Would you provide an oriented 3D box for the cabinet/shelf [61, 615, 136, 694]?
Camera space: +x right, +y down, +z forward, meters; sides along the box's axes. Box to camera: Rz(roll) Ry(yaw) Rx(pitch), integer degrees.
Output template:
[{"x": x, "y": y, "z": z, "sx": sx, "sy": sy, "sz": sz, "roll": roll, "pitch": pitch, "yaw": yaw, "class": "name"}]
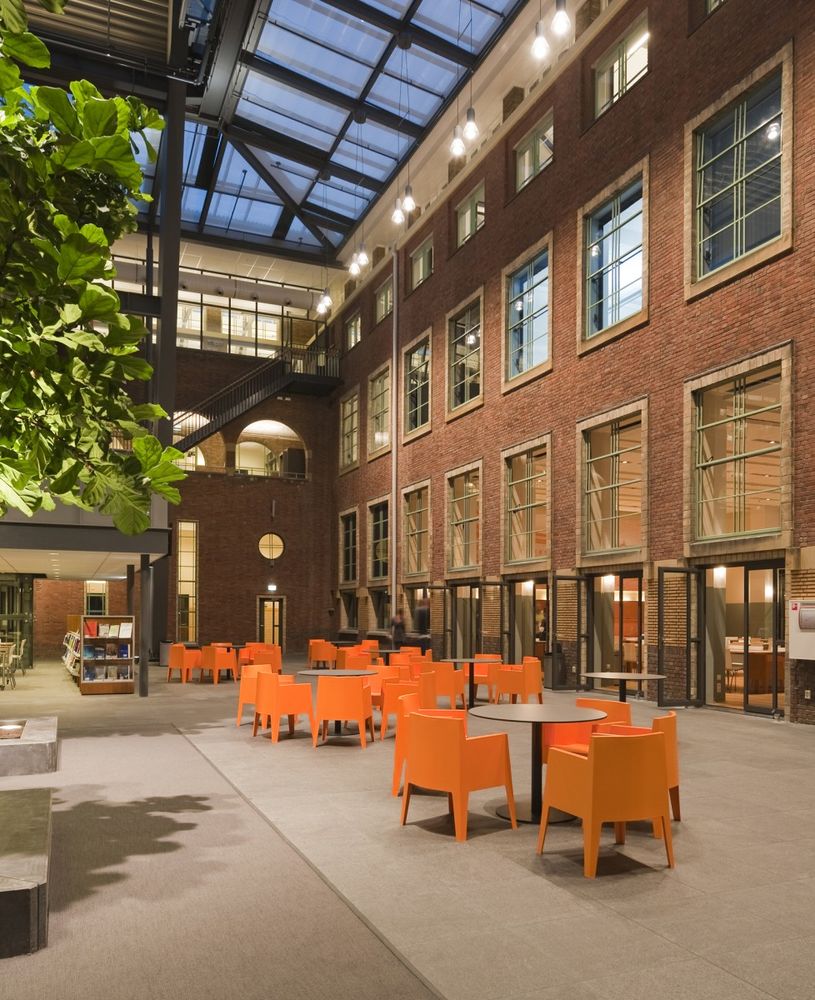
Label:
[{"x": -6.149, "y": 3.165, "z": 16.546, "sx": 1.036, "sy": 1.579, "sz": 1.209, "roll": 2, "pitch": -9, "yaw": -16, "class": "cabinet/shelf"}]
